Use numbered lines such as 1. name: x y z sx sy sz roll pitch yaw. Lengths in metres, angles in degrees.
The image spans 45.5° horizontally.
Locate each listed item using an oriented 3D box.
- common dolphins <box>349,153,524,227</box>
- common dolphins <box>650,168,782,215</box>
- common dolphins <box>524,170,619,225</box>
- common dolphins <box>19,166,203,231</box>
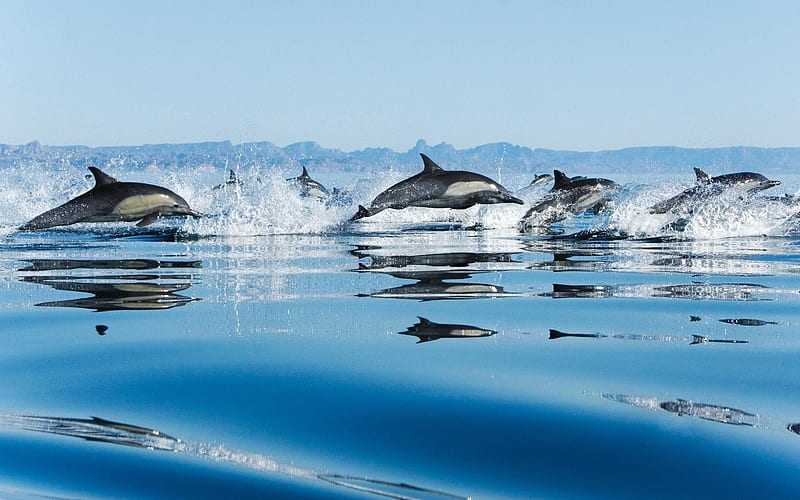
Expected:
1. common dolphins: 1.216 -1.363 22.214 4.670 1.565 1.402 -2 3 6
2. common dolphins: 8.112 -1.343 23.295 3.619 1.148 1.089 -3 28 32
3. common dolphins: 4.473 -1.307 25.300 2.335 1.502 0.881 1 12 8
4. common dolphins: -6.543 -1.106 20.480 4.077 1.379 1.159 -3 5 -2
